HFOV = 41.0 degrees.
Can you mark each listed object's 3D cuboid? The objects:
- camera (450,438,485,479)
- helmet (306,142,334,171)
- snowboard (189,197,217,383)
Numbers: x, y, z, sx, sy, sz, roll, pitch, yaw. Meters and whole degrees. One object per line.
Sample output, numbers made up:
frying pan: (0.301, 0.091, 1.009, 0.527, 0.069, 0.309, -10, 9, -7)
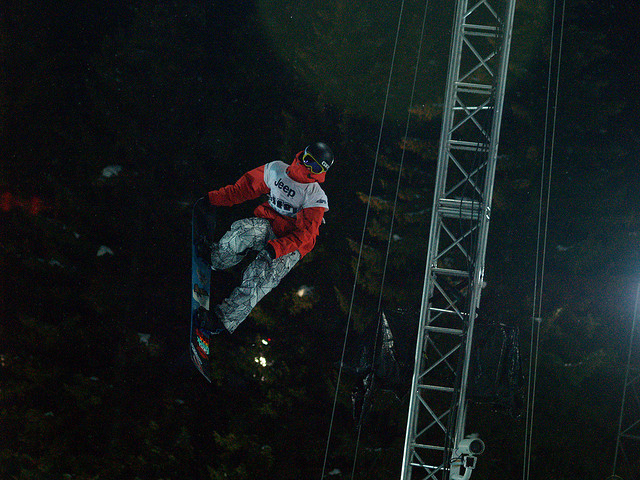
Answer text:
camera: (1.541, 2.313, 9.123, 0.219, 0.441, 0.357, 21, -21, -26)
helmet: (-0.010, -1.029, 10.153, 0.251, 0.310, 0.289, 32, -68, -20)
snowboard: (-1.427, 0.580, 10.291, 0.295, 2.185, 0.282, 4, 0, -18)
